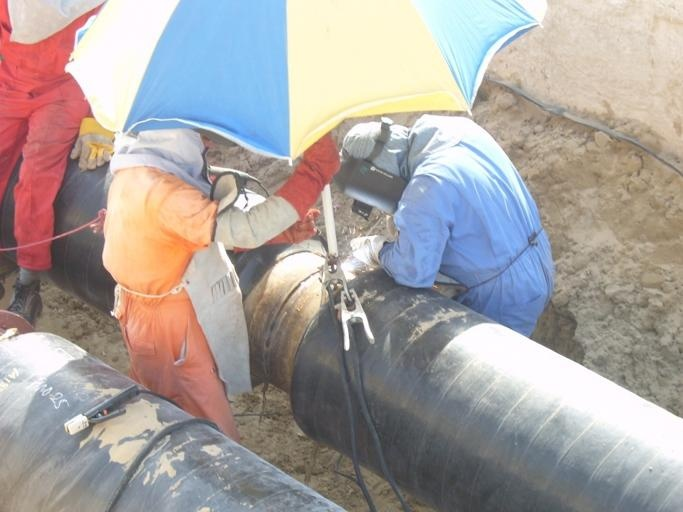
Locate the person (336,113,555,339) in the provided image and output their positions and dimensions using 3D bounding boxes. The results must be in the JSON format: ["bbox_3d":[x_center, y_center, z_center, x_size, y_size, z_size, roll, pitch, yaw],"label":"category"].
[{"bbox_3d":[0.639,-0.156,4.252,0.843,1.294,0.694,13,72,11],"label":"person"}]

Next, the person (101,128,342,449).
[{"bbox_3d":[-0.644,0.167,3.849,0.902,1.842,0.822,-29,59,-23],"label":"person"}]

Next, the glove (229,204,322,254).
[{"bbox_3d":[-0.355,-0.214,4.414,0.389,0.295,0.160,-35,91,15],"label":"glove"}]

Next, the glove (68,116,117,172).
[{"bbox_3d":[-1.634,-0.731,4.935,0.303,0.159,0.415,12,72,20],"label":"glove"}]

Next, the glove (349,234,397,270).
[{"bbox_3d":[0.179,-0.047,4.498,0.223,0.106,0.200,15,107,30],"label":"glove"}]
